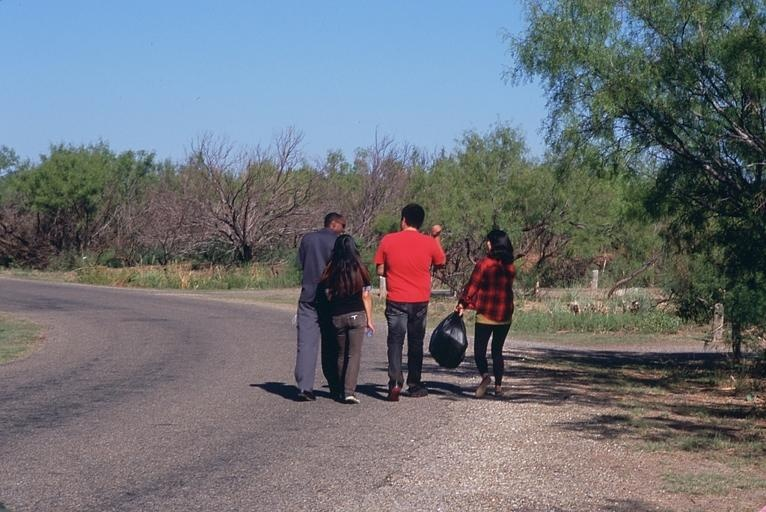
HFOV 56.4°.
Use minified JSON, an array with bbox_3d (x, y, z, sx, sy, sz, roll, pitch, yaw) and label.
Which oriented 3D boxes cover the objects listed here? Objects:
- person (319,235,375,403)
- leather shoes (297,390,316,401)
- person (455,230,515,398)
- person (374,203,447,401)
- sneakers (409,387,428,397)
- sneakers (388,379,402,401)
[{"bbox_3d":[-0.541,0.947,10.974,0.821,2.574,0.640,2,-2,11],"label":"person"},{"bbox_3d":[-1.148,2.126,10.947,0.323,0.173,0.176,5,-3,-35],"label":"leather shoes"},{"bbox_3d":[1.683,0.886,11.543,0.804,2.760,1.237,2,-2,10],"label":"person"},{"bbox_3d":[0.395,0.712,11.067,0.991,3.040,0.563,2,-2,4],"label":"person"},{"bbox_3d":[0.554,2.151,11.411,0.315,0.166,0.130,-4,6,-11],"label":"sneakers"},{"bbox_3d":[0.189,2.072,10.992,0.132,0.161,0.382,2,-41,-3],"label":"sneakers"}]
